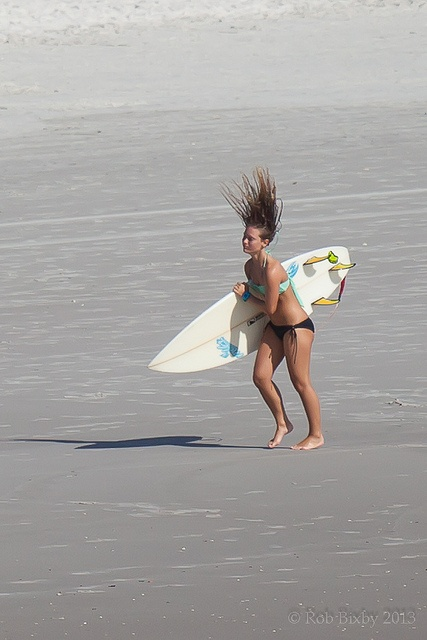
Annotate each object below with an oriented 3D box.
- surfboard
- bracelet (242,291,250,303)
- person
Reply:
[{"bbox_3d":[0.248,-0.041,7.118,1.380,0.388,0.259,-32,26,-13],"label":"surfboard"},{"bbox_3d":[0.176,-0.131,6.092,0.013,0.040,0.042,16,-12,-39],"label":"bracelet"},{"bbox_3d":[0.336,-0.051,6.014,0.376,1.491,0.382,-7,9,-18],"label":"person"}]
